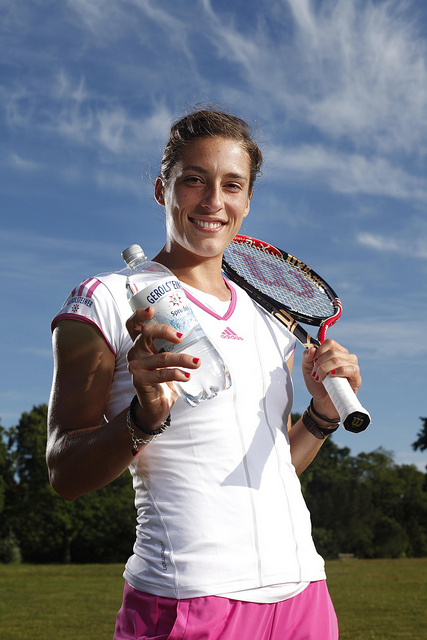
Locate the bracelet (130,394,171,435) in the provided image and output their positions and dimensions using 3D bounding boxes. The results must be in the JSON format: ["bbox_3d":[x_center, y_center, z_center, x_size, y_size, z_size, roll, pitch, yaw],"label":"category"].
[{"bbox_3d":[-0.261,0.375,2.296,0.151,0.156,0.046,-7,15,8],"label":"bracelet"}]

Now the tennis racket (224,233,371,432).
[{"bbox_3d":[0.560,0.039,3.768,0.639,0.144,1.402,12,22,-28],"label":"tennis racket"}]
